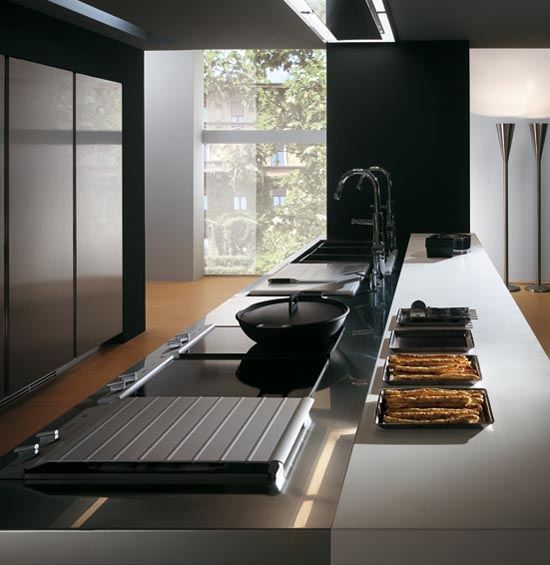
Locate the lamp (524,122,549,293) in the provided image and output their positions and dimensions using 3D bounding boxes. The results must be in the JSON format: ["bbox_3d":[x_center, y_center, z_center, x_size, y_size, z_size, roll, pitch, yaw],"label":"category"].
[{"bbox_3d":[3.892,-1.146,7.123,0.318,2.563,0.886,-1,7,29],"label":"lamp"}]
